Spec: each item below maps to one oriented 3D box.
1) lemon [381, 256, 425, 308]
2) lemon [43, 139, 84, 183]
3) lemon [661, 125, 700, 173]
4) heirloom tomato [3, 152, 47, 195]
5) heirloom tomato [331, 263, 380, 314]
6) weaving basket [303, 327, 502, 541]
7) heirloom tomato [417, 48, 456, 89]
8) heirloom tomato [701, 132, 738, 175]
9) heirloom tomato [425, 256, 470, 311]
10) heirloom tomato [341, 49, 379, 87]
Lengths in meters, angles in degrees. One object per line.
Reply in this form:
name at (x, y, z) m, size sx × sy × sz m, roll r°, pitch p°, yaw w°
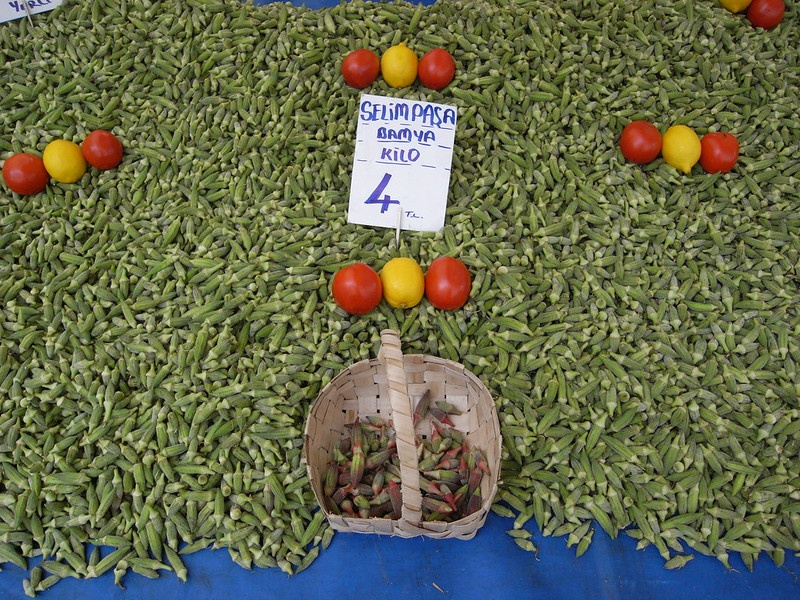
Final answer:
lemon at (0.008, -0.055, 2.637) m, size 0.103 × 0.109 × 0.163 m, roll 6°, pitch 73°, yaw -12°
lemon at (-1.117, -0.460, 2.765) m, size 0.104 × 0.106 × 0.155 m, roll -19°, pitch 101°, yaw -22°
lemon at (0.955, -0.520, 2.833) m, size 0.131 × 0.191 × 0.167 m, roll 0°, pitch 92°, yaw 6°
heirloom tomato at (-1.238, -0.411, 2.778) m, size 0.118 × 0.126 × 0.151 m, roll 5°, pitch 91°, yaw -7°
heirloom tomato at (-0.134, -0.036, 2.563) m, size 0.121 × 0.148 × 0.167 m, roll -2°, pitch 96°, yaw -1°
weaving basket at (0.017, 0.428, 2.575) m, size 0.522 × 0.583 × 0.642 m, roll -1°, pitch 71°, yaw 3°
heirloom tomato at (0.133, -0.808, 2.883) m, size 0.129 × 0.170 × 0.147 m, roll 12°, pitch 110°, yaw 32°
heirloom tomato at (1.081, -0.495, 2.803) m, size 0.117 × 0.116 × 0.141 m, roll -13°, pitch 86°, yaw 20°
heirloom tomato at (0.156, -0.055, 2.632) m, size 0.129 × 0.138 × 0.179 m, roll -1°, pitch 95°, yaw 18°
heirloom tomato at (-0.138, -0.788, 2.874) m, size 0.116 × 0.102 × 0.112 m, roll -11°, pitch 61°, yaw -14°
